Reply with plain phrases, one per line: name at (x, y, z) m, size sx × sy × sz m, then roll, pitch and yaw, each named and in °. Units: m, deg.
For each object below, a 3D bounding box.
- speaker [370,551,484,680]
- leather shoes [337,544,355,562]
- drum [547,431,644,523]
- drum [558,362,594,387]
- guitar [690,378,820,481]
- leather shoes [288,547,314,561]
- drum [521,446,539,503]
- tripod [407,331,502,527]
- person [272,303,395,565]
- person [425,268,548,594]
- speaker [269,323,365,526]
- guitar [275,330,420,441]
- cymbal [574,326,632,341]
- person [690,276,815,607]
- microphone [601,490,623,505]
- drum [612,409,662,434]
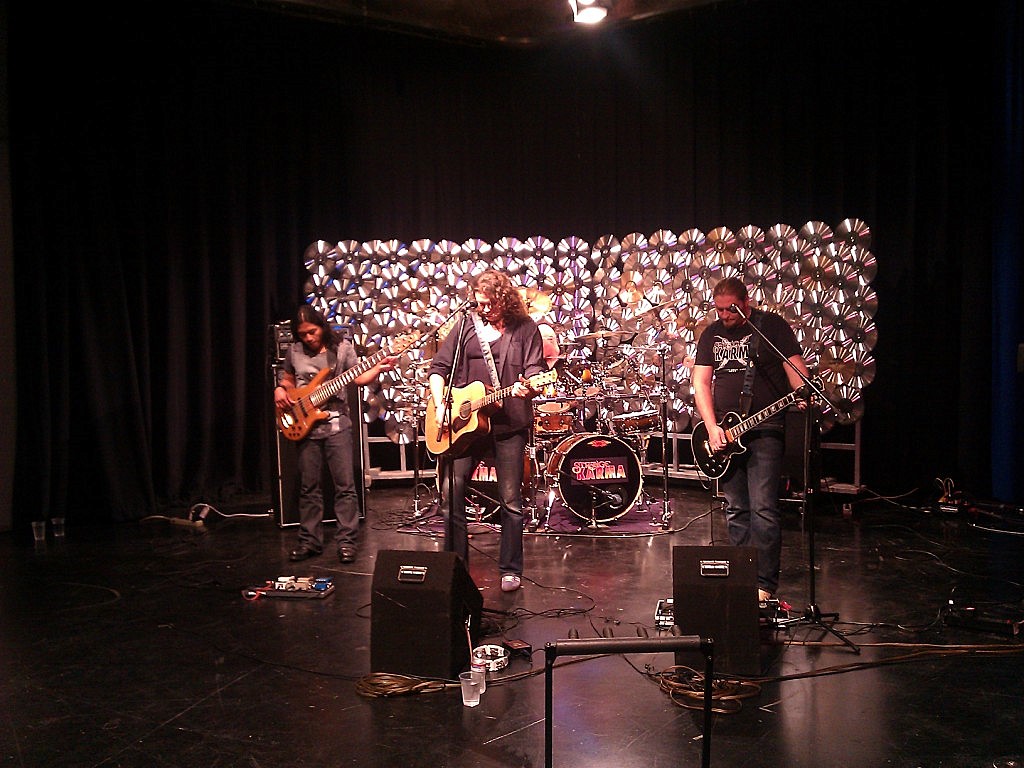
speaker at (-0.488, 1.293, 5.700) m, size 0.658 × 0.688 × 0.613 m, roll 3°, pitch 6°, yaw 4°
leather shoes at (-1.326, 1.357, 7.550) m, size 0.133 × 0.140 × 0.134 m, roll 1°, pitch -4°, yaw -18°
drum at (0.754, 0.855, 8.458) m, size 0.816 × 0.817 × 0.309 m, roll 1°, pitch -3°, yaw -18°
drum at (0.600, -0.107, 8.913) m, size 0.264 × 0.231 × 0.528 m, roll 3°, pitch -5°, yaw -41°
guitar at (1.518, 0.297, 6.196) m, size 0.624 × 0.647 × 0.521 m, roll 5°, pitch 6°, yaw 12°
leather shoes at (-1.722, 1.382, 7.669) m, size 0.085 × 0.080 × 0.182 m, roll -5°, pitch -15°, yaw 43°
drum at (0.165, 0.824, 8.673) m, size 0.166 × 0.501 × 0.329 m, roll 4°, pitch 3°, yaw -4°
tripod at (-0.373, 0.235, 6.490) m, size 0.482 × 1.384 × 0.599 m, roll 2°, pitch 6°, yaw -20°
person at (-1.523, 0.446, 7.661) m, size 0.866 × 2.278 × 0.809 m, roll 3°, pitch 7°, yaw -17°
person at (-0.215, 0.342, 6.719) m, size 0.754 × 2.384 × 0.738 m, roll 3°, pitch 6°, yaw -7°
speaker at (-1.837, 0.493, 8.663) m, size 0.734 × 2.046 × 0.641 m, roll 1°, pitch 7°, yaw -31°
guitar at (-1.311, 0.089, 7.417) m, size 0.875 × 1.051 × 0.744 m, roll 0°, pitch 6°, yaw -37°
cymbal at (0.870, -0.486, 8.922) m, size 0.228 × 0.059 × 0.233 m, roll -6°, pitch -1°, yaw 44°
person at (1.580, 0.331, 6.203) m, size 0.687 × 2.162 × 0.591 m, roll -2°, pitch 0°, yaw 35°
microphone at (0.916, 1.002, 8.407) m, size 0.206 × 0.170 × 0.037 m, roll 0°, pitch -3°, yaw 5°
drum at (1.165, 0.346, 8.727) m, size 0.277 × 0.108 × 0.296 m, roll -14°, pitch -1°, yaw 0°
